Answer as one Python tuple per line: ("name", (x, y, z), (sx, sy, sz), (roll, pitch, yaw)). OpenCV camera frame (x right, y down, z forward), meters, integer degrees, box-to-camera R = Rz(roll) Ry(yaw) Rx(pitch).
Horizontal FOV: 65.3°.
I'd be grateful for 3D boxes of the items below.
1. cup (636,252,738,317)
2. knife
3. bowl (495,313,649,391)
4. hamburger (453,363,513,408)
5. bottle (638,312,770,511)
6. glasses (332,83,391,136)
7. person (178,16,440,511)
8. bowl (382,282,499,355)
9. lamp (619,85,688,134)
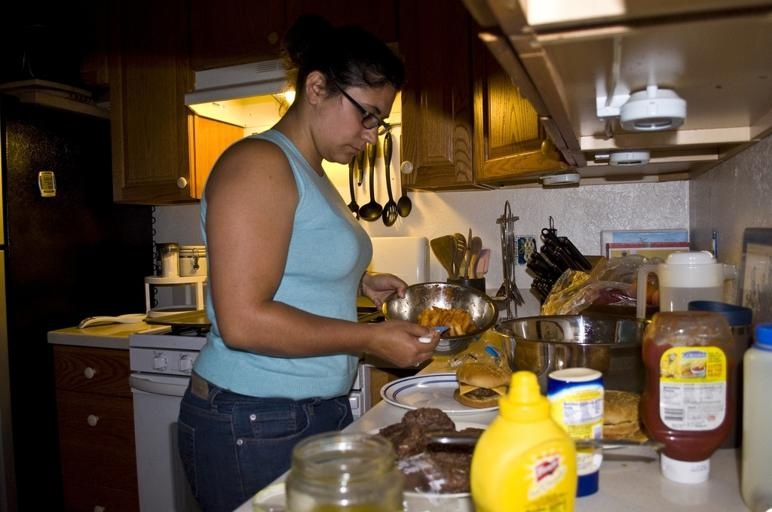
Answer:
("cup", (0.723, 0.100, 1.453), (0.234, 0.212, 0.146), (0, 2, 11))
("knife", (0.684, 0.043, 2.402), (0.100, 0.295, 0.256), (-1, 0, -37))
("bowl", (0.412, 0.225, 1.430), (0.341, 0.121, 0.278), (-3, 6, -13))
("hamburger", (0.240, 0.317, 1.515), (0.129, 0.058, 0.124), (-3, 9, 6))
("bottle", (0.592, 0.281, 1.182), (0.166, 0.398, 0.054), (-2, 0, 3))
("glasses", (-0.069, -0.389, 1.574), (0.031, 0.106, 0.106), (-44, -18, 10))
("person", (-0.218, 0.022, 1.534), (0.603, 1.140, 0.371), (-2, 0, -19))
("bowl", (0.184, 0.205, 1.969), (0.336, 0.123, 0.340), (4, 23, -2))
("lamp", (0.595, -0.328, 1.338), (0.152, 0.073, 0.157), (3, 3, 43))
